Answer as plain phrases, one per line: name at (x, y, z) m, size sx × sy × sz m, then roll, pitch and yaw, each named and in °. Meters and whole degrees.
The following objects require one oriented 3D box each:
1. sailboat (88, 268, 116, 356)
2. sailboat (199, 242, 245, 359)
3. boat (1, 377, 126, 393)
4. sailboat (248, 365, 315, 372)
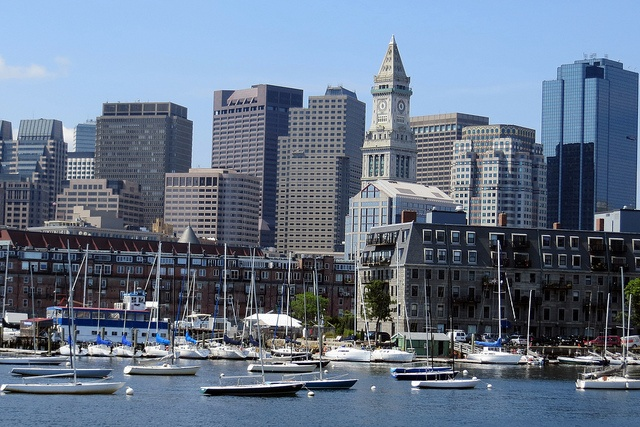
sailboat at (-49.705, 22.515, 341.850) m, size 5.874 × 17.098 × 5.187 m, roll 9°, pitch 2°, yaw -4°
sailboat at (-23.376, 21.400, 360.305) m, size 7.509 × 24.052 × 9.095 m, roll 5°, pitch 0°, yaw -3°
boat at (-47.928, 32.693, 282.167) m, size 20.580 × 2.281 × 2.512 m, roll -1°, pitch -7°, yaw 0°
sailboat at (-8.008, 30.435, 298.774) m, size 12.921 × 1.965 × 2.771 m, roll -1°, pitch -1°, yaw -3°
